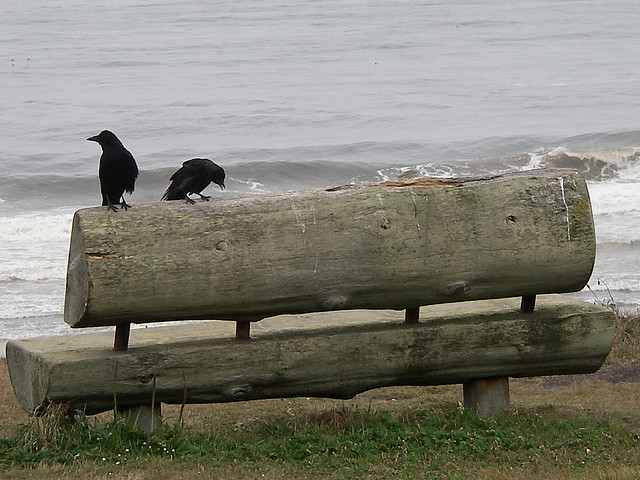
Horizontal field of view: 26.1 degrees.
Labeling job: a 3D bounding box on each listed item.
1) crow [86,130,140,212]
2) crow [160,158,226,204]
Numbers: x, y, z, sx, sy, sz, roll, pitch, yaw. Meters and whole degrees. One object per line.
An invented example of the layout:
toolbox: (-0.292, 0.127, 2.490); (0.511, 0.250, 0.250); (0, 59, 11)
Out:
crow: (-8.000, -2.687, 53.898); (2.359, 2.907, 1.893); (2, 0, 7)
crow: (-4.932, -2.219, 53.709); (2.684, 1.751, 2.144); (-16, 25, -38)
